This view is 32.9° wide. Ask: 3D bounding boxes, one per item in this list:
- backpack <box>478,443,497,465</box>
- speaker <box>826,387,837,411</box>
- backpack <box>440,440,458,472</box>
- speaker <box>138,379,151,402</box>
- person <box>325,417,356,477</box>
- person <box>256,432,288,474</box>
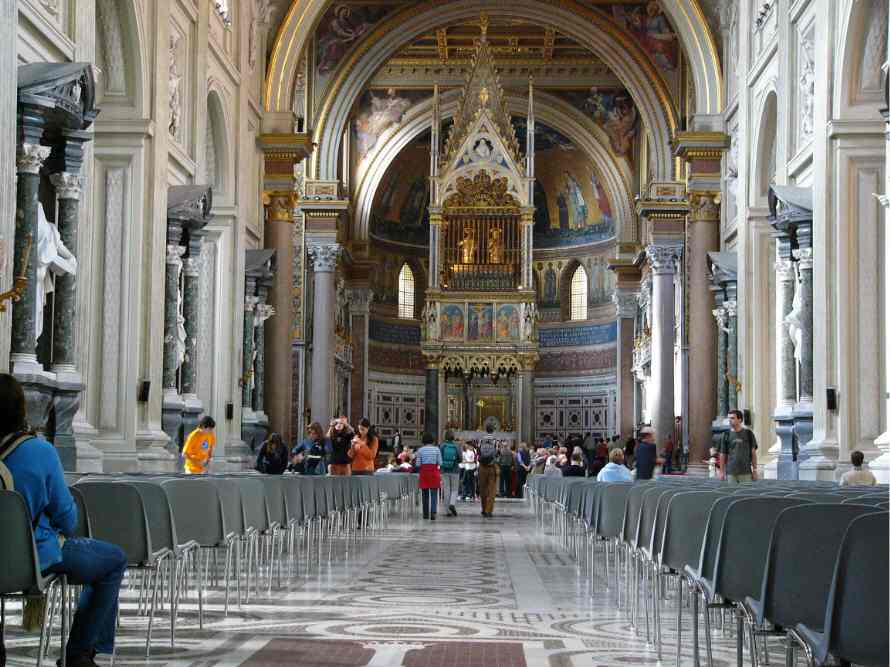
[{"bbox_3d":[0.723,2.135,26.609,0.274,0.393,0.354,3,0,-2],"label":"backpack"},{"bbox_3d":[5.246,0.896,20.465,0.152,0.319,0.080,-2,-6,25],"label":"speaker"},{"bbox_3d":[0.056,2.238,27.123,0.451,0.665,0.346,0,-14,11],"label":"backpack"},{"bbox_3d":[-4.317,0.831,21.532,0.169,0.328,0.254,1,-5,-8],"label":"speaker"},{"bbox_3d":[-1.691,1.793,24.115,0.375,0.904,0.897,0,-5,-4],"label":"person"},{"bbox_3d":[-2.630,1.831,22.929,0.401,0.612,0.939,1,-6,-9],"label":"person"}]
